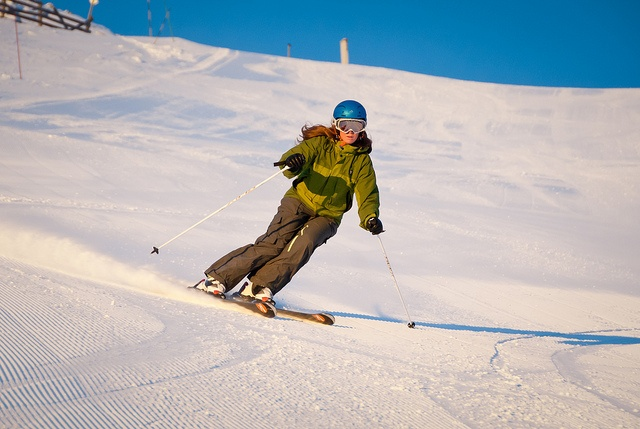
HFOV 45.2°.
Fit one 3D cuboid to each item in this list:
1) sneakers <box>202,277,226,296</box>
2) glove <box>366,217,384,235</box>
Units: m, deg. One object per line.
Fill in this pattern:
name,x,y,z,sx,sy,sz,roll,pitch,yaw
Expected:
sneakers,-1.708,1.172,12.517,0.490,0.163,0.201,18,3,4
glove,0.926,0.196,12.604,0.288,0.268,0.293,-4,9,6
